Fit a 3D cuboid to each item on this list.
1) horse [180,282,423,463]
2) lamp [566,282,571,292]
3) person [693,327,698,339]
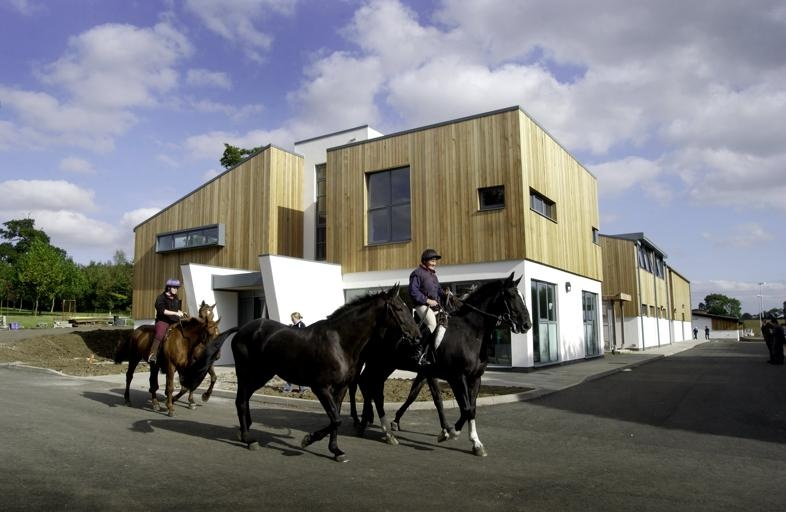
[{"bbox_3d":[-1.448,2.165,9.322,3.439,3.119,0.878,-2,-8,22],"label":"horse"},{"bbox_3d":[8.635,1.537,23.895,0.129,0.523,0.723,-2,-9,27],"label":"lamp"},{"bbox_3d":[40.113,10.404,64.462,0.406,1.417,2.262,-2,-9,25],"label":"person"}]
